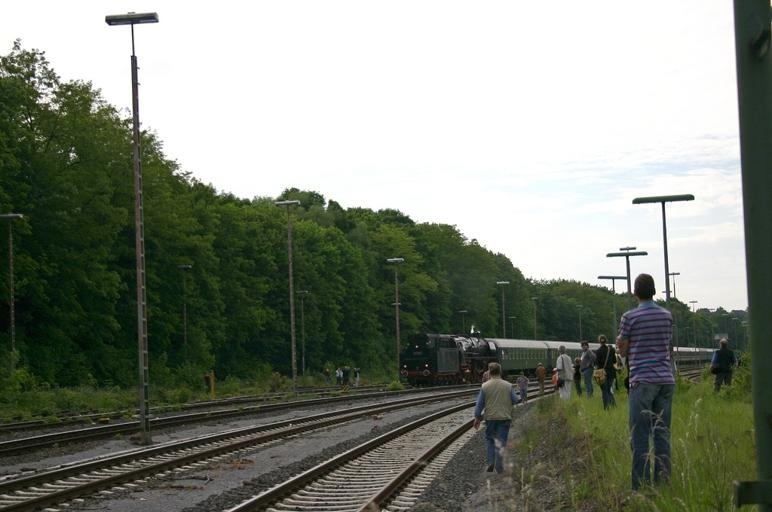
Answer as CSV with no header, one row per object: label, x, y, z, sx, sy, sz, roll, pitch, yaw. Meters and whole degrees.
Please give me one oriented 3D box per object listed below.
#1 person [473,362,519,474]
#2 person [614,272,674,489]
person,2.562,3.746,19.232,0.936,2.534,0.972,-2,-8,10
person,4.604,2.200,14.666,0.914,3.765,0.470,-2,-8,16
